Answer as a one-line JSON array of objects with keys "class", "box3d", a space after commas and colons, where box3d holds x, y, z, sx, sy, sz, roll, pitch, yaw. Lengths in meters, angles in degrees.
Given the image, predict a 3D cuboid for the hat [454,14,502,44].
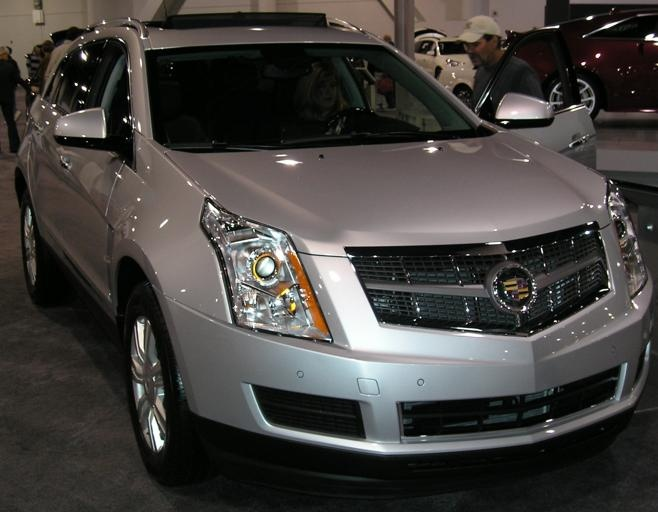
[{"class": "hat", "box3d": [1.533, -2.297, 4.945, 0.372, 0.236, 0.273, -7, 27, -15]}]
